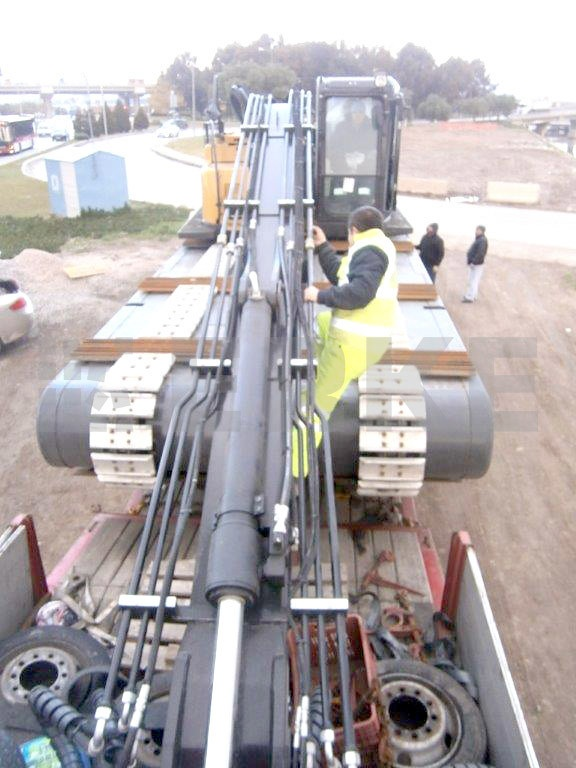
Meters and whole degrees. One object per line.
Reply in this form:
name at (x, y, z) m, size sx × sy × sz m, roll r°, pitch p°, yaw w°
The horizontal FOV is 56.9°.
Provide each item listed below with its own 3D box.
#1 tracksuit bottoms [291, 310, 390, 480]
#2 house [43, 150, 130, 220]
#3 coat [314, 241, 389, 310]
tracksuit bottoms at (0.358, 0.037, 3.491) m, size 0.309 × 1.184 × 0.299 m, roll 7°, pitch 52°, yaw -3°
house at (-6.983, -6.863, 18.544) m, size 0.986 × 2.151 × 2.094 m, roll 12°, pitch 38°, yaw 18°
coat at (0.393, -0.575, 3.340) m, size 0.393 × 0.184 × 0.512 m, roll -6°, pitch 55°, yaw 25°
